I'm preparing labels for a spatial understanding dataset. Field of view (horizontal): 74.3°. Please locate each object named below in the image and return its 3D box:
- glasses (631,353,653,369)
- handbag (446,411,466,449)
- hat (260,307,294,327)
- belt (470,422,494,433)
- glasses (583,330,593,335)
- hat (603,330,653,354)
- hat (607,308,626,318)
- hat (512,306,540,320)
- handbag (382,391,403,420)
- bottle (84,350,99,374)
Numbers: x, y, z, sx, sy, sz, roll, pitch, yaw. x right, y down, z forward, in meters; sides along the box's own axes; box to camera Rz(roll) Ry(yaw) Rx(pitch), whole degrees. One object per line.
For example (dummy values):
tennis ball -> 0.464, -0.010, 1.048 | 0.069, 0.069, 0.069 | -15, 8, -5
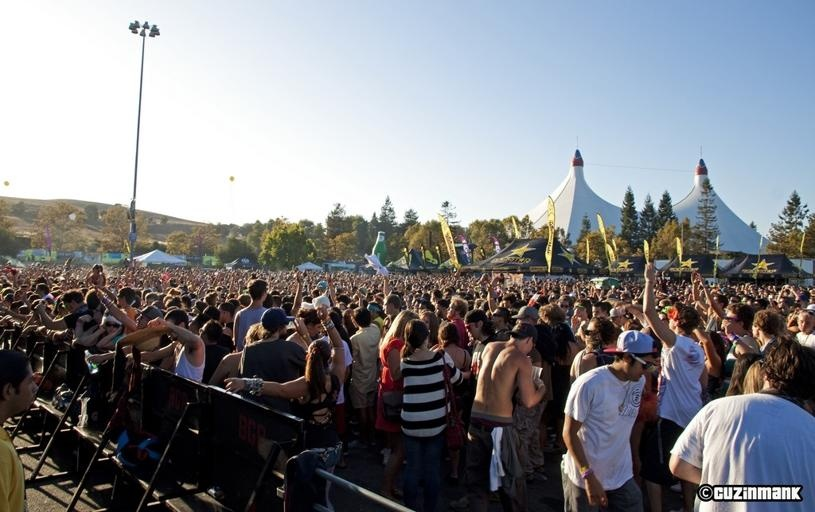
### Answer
glasses -> 2.356, 1.054, 5.401 | 0.164, 0.051, 0.158 | 42, 3, 34
handbag -> 0.580, 2.137, 6.540 | 0.257, 0.356, 0.128 | -2, -16, 11
hat -> -1.618, 0.772, 6.665 | 0.351, 0.202, 0.248 | -4, 29, -21
belt -> 0.861, 2.000, 6.294 | 0.211, 0.085, 0.154 | 6, -7, -22
glasses -> 2.296, 0.967, 6.798 | 0.111, 0.039, 0.115 | -1, 1, -33
hat -> 2.273, 0.879, 5.447 | 0.379, 0.197, 0.253 | 2, -2, 22
hat -> 3.724, 1.004, 9.611 | 0.231, 0.120, 0.169 | -3, 3, 2
hat -> 1.690, 0.801, 7.556 | 0.272, 0.155, 0.192 | -1, -5, -17
handbag -> -0.191, 1.960, 7.050 | 0.331, 0.350, 0.187 | -1, -10, -7
bottle -> -4.387, 1.437, 7.544 | 0.125, 0.367, 0.246 | -6, -9, -45
